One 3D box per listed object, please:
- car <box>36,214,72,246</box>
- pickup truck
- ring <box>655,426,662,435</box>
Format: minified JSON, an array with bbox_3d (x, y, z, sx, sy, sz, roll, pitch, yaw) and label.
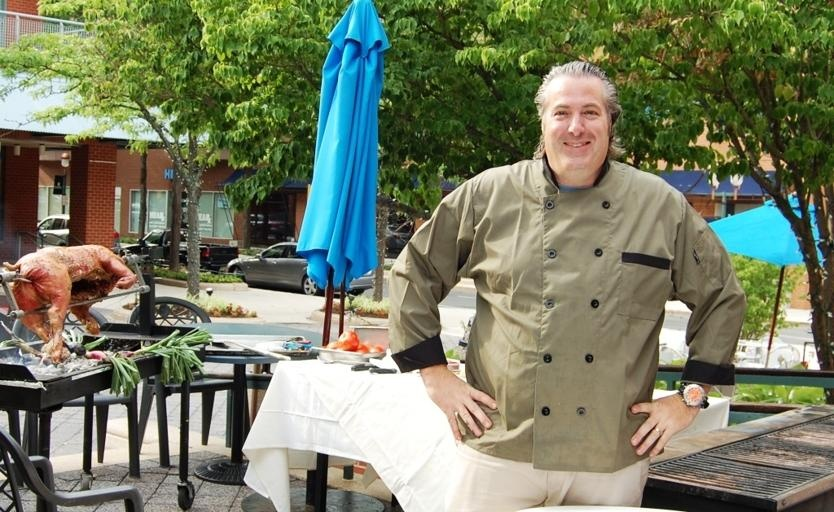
[{"bbox_3d":[-14.493,-1.146,32.316,1.003,1.744,5.484,2,-4,-25],"label":"car"},{"bbox_3d":[-7.156,-0.222,24.796,3.383,1.308,1.591,13,10,23],"label":"pickup truck"},{"bbox_3d":[1.295,0.936,4.352,0.036,0.023,0.036,29,-11,6],"label":"ring"}]
